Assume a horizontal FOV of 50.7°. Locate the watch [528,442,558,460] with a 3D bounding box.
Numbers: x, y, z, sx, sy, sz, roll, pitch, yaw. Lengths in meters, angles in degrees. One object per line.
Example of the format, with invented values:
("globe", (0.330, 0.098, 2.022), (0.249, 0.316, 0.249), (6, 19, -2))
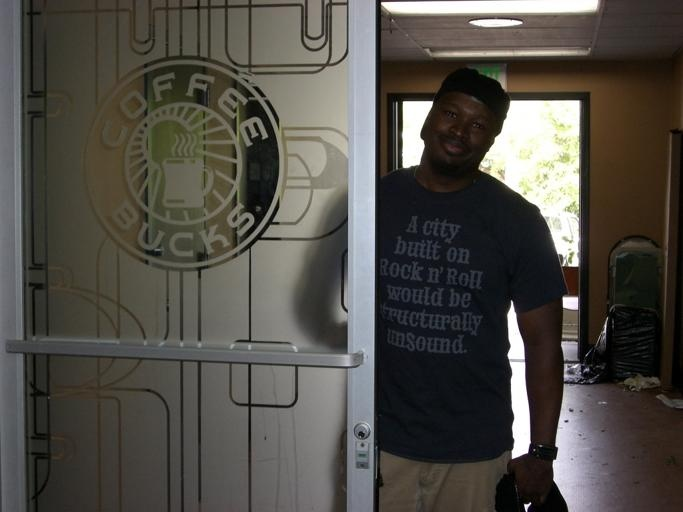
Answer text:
("watch", (0.655, 0.639, 2.335), (0.061, 0.035, 0.057), (9, 1, 7))
